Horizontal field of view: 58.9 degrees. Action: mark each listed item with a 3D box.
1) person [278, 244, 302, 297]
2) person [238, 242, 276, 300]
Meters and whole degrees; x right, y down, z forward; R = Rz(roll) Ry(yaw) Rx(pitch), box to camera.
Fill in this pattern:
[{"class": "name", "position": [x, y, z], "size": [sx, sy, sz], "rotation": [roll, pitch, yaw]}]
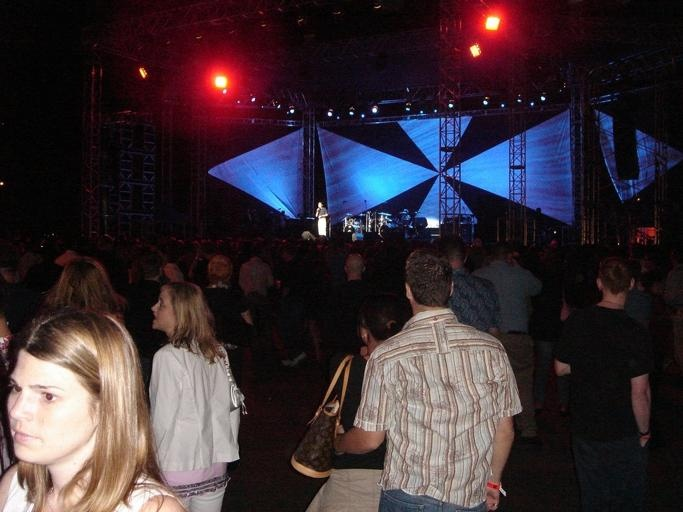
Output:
[{"class": "person", "position": [-0.772, 0.211, 9.031], "size": [0.304, 0.701, 0.847], "rotation": [-1, 6, -6]}, {"class": "person", "position": [-1.275, 0.216, 9.037], "size": [0.501, 0.815, 0.452], "rotation": [3, 31, -5]}]
